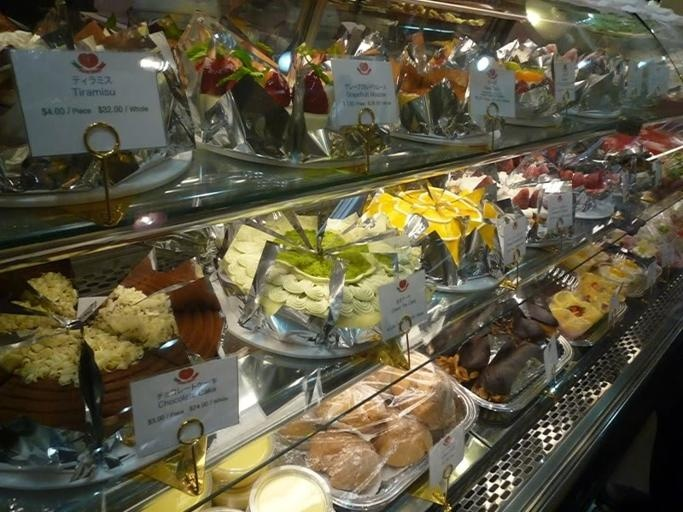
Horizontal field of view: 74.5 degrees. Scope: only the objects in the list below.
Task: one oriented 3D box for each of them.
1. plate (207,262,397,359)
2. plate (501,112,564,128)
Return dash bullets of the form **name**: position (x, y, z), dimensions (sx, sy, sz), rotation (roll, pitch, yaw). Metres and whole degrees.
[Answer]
- **plate**: position (-0.111, 0.095, 1.012), dimensions (0.255, 0.058, 0.248), rotation (-7, 25, -40)
- **plate**: position (0.630, -0.452, 1.486), dimensions (0.121, 0.020, 0.115), rotation (-1, 8, -12)
